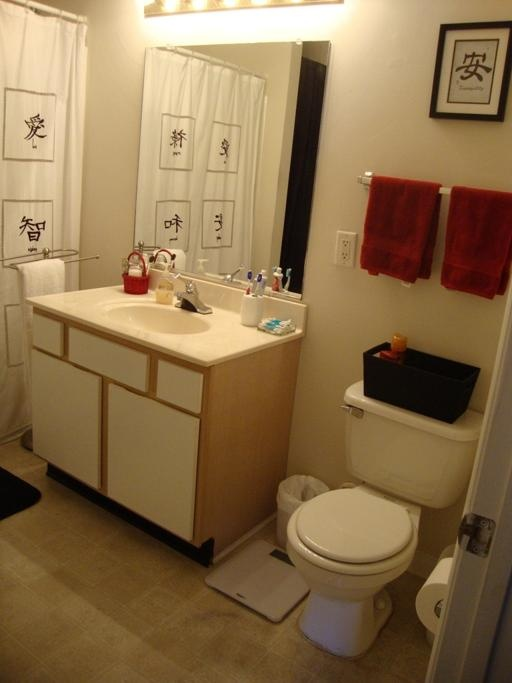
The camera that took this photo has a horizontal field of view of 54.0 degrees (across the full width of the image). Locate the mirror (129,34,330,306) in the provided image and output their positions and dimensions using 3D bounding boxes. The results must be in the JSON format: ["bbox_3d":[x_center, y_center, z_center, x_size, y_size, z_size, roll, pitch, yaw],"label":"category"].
[{"bbox_3d":[-0.085,-0.692,1.990,0.737,1.092,0.068,22,29,34],"label":"mirror"}]

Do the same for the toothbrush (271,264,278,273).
[{"bbox_3d":[0.072,-0.283,1.955,0.021,0.026,0.014,-13,26,-31],"label":"toothbrush"}]

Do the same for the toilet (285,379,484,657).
[{"bbox_3d":[0.337,0.548,1.537,0.526,0.697,0.376,-14,26,-39],"label":"toilet"}]

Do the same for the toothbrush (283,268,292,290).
[{"bbox_3d":[0.121,-0.238,1.941,0.031,0.090,0.018,8,11,24],"label":"toothbrush"}]

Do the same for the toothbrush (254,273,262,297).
[{"bbox_3d":[0.008,-0.222,1.942,0.031,0.081,0.085,3,11,-2],"label":"toothbrush"}]

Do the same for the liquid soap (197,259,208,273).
[{"bbox_3d":[-0.232,-0.325,2.168,0.042,0.066,0.050,2,13,-2],"label":"liquid soap"}]

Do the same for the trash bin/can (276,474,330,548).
[{"bbox_3d":[0.160,0.601,1.974,0.187,0.288,0.245,4,22,1],"label":"trash bin/can"}]

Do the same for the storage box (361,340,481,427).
[{"bbox_3d":[0.516,0.145,1.586,0.304,0.178,0.195,21,30,34],"label":"storage box"}]

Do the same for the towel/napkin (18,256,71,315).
[{"bbox_3d":[-0.928,-0.238,2.175,0.070,0.241,0.198,20,31,33],"label":"towel/napkin"}]

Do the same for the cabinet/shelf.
[{"bbox_3d":[-0.312,0.345,1.794,0.616,0.569,0.321,21,21,39],"label":"cabinet/shelf"}]
